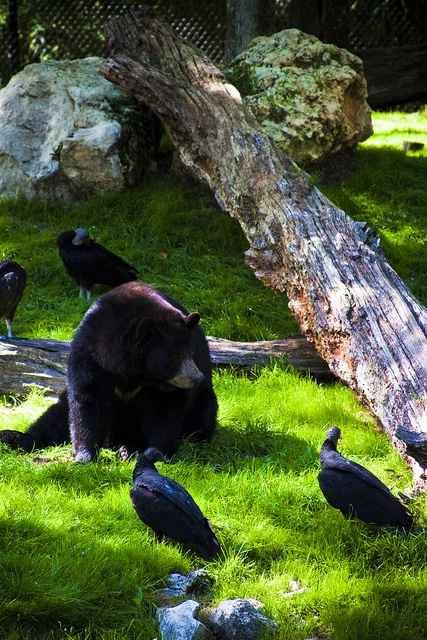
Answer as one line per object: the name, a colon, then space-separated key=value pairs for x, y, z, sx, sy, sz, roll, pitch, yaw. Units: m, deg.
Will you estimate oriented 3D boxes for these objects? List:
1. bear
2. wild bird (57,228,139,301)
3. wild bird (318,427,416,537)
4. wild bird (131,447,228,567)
bear: x=-0.603 y=0.327 z=5.099 sx=1.009 sy=1.081 sz=1.415 roll=-1 pitch=6 yaw=-19
wild bird: x=-1.036 y=-0.463 z=7.429 sx=0.878 sy=0.641 sz=0.385 roll=8 pitch=-23 yaw=17
wild bird: x=0.717 y=0.777 z=3.961 sx=0.265 sy=0.475 sz=0.649 roll=0 pitch=-3 yaw=-35
wild bird: x=-0.163 y=0.841 z=3.764 sx=0.484 sy=0.420 sz=0.260 roll=13 pitch=6 yaw=19
